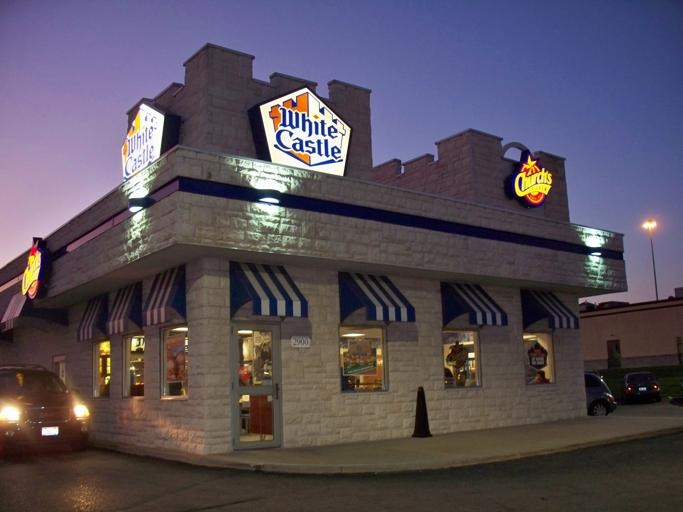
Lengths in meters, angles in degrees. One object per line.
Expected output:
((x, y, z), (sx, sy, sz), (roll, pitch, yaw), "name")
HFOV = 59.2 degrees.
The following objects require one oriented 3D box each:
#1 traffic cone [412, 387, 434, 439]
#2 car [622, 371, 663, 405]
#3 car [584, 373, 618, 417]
((2.328, 4.529, 17.584), (0.557, 1.439, 0.842), (-1, -7, 6), "traffic cone")
((15.733, 7.003, 32.349), (1.121, 1.088, 2.246), (-2, -2, 3), "car")
((9.885, 5.352, 23.201), (1.477, 1.584, 0.677), (6, -9, -41), "car")
